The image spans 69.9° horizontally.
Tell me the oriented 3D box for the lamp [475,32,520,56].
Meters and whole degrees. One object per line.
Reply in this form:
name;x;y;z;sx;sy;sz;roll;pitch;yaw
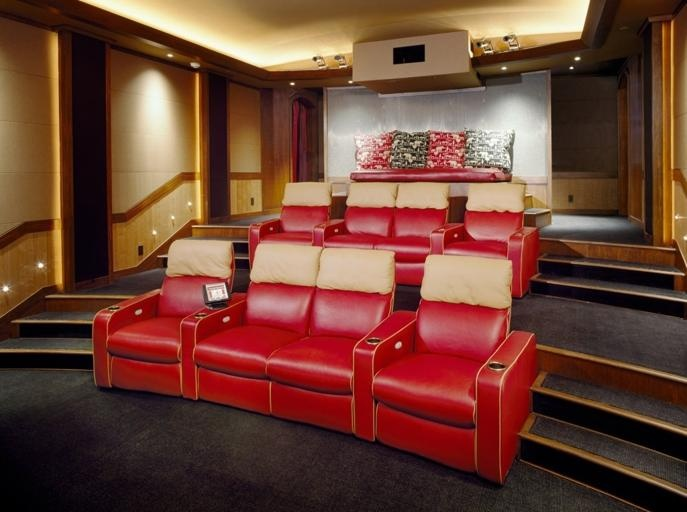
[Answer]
lamp;2.307;-3.168;7.386;0.677;0.296;0.429;4;14;18

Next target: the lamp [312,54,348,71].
lamp;-0.195;-3.214;8.177;0.506;0.286;0.347;3;16;0
